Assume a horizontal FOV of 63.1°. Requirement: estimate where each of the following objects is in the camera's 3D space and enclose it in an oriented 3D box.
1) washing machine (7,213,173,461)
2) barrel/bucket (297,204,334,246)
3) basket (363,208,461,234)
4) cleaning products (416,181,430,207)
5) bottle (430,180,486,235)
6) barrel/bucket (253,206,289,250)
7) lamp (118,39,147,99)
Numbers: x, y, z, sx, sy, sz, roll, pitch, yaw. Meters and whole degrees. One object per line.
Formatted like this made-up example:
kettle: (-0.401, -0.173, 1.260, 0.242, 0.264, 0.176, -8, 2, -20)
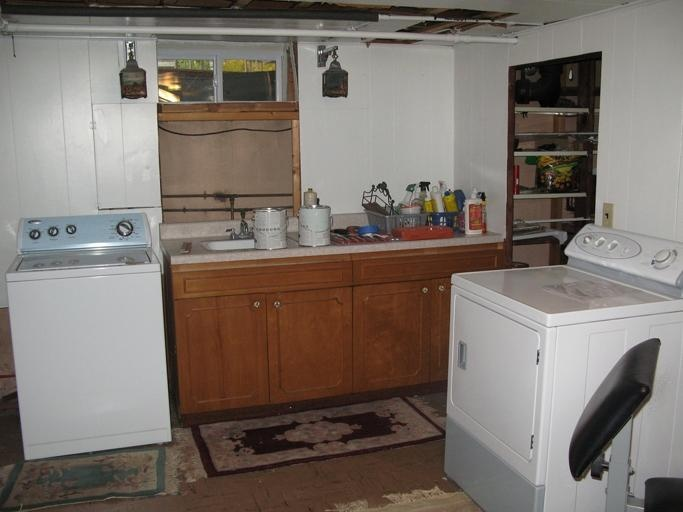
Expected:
washing machine: (-1.575, 0.523, 3.508, 0.916, 1.390, 0.492, -7, 13, -18)
barrel/bucket: (-0.177, -0.232, 3.920, 0.279, 0.291, 0.267, 1, 13, 0)
basket: (0.538, -0.273, 4.277, 0.702, 0.171, 0.377, -2, 12, 6)
cleaning products: (0.679, -0.518, 4.581, 0.103, 0.202, 0.338, -1, 13, 8)
bottle: (0.874, -0.383, 4.358, 0.473, 0.478, 0.318, 2, 2, -21)
barrel/bucket: (-0.443, -0.207, 3.838, 0.290, 0.274, 0.261, 1, 13, 2)
lamp: (-1.516, -1.383, 4.010, 0.208, 0.443, 0.193, -10, 19, -36)
